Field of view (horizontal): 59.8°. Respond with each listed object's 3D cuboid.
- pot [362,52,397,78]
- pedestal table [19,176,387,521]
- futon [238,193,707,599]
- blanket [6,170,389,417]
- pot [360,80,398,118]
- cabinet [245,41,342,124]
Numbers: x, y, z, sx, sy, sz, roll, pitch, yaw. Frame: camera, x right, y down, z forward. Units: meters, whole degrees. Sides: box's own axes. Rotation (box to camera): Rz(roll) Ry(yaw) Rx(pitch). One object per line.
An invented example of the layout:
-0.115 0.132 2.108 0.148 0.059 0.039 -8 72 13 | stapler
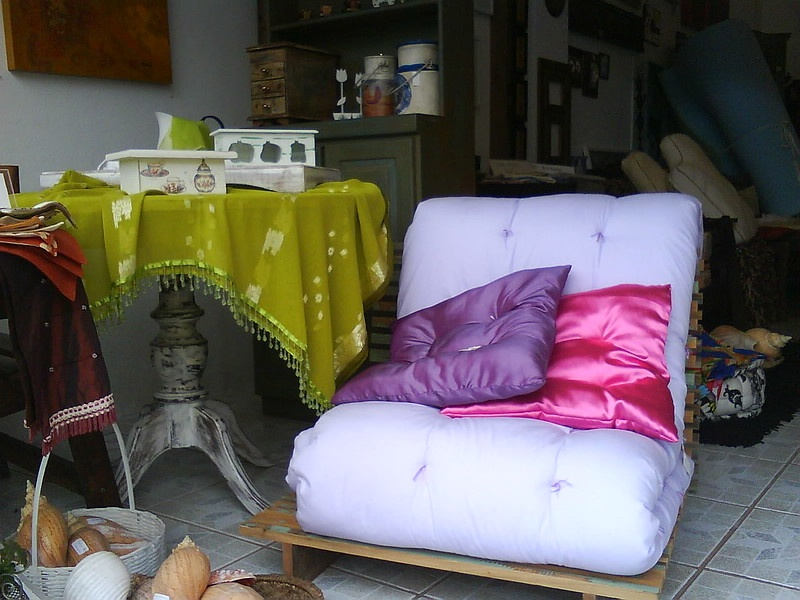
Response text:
-0.087 -0.999 3.032 0.114 0.076 0.115 -1 10 0 | pot
-0.494 0.105 2.281 1.026 0.845 1.084 -1 -1 27 | pedestal table
0.317 0.282 1.925 1.082 0.898 1.131 2 10 24 | futon
-0.472 -0.012 2.381 0.953 0.581 1.088 2 2 38 | blanket
-0.099 -0.880 3.047 0.166 0.153 0.056 6 13 32 | pot
-0.483 -0.981 3.255 0.264 0.441 0.444 6 10 38 | cabinet
